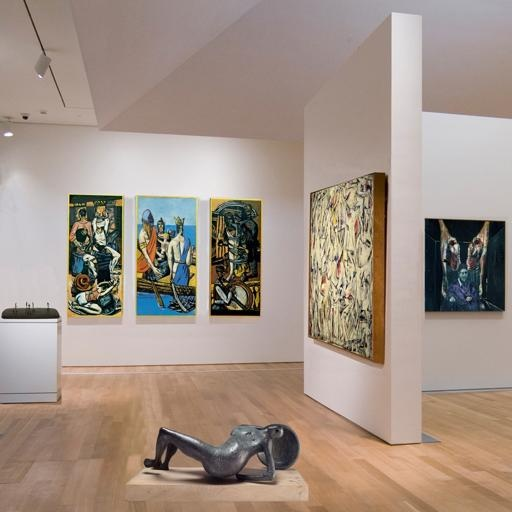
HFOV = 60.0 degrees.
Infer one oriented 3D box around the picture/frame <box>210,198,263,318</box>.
[{"bbox_3d":[-0.400,-0.046,8.189,0.964,2.480,0.077,1,-27,-3],"label":"picture/frame"}]
